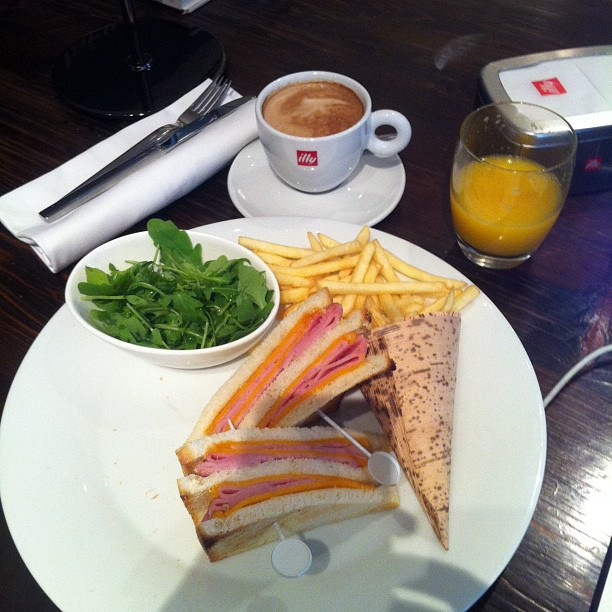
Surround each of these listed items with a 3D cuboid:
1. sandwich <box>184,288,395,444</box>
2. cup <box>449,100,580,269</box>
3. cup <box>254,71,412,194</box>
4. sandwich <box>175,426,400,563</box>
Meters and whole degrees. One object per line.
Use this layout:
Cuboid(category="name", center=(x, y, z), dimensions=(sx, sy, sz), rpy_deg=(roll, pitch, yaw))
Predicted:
Cuboid(category="sandwich", center=(0.010, 0.161, 1.583), dimensions=(0.348, 0.174, 0.540), rpy_deg=(-4, 31, 50))
Cuboid(category="cup", center=(0.634, -0.368, 1.749), dimensions=(0.340, 0.409, 0.307), rpy_deg=(-31, 64, -31))
Cuboid(category="cup", center=(0.102, -0.600, 2.043), dimensions=(0.548, 0.288, 0.387), rpy_deg=(9, 57, 9))
Cuboid(category="sandwich", center=(-0.036, 0.449, 1.455), dimensions=(0.544, 0.167, 0.272), rpy_deg=(-11, 53, 0))
